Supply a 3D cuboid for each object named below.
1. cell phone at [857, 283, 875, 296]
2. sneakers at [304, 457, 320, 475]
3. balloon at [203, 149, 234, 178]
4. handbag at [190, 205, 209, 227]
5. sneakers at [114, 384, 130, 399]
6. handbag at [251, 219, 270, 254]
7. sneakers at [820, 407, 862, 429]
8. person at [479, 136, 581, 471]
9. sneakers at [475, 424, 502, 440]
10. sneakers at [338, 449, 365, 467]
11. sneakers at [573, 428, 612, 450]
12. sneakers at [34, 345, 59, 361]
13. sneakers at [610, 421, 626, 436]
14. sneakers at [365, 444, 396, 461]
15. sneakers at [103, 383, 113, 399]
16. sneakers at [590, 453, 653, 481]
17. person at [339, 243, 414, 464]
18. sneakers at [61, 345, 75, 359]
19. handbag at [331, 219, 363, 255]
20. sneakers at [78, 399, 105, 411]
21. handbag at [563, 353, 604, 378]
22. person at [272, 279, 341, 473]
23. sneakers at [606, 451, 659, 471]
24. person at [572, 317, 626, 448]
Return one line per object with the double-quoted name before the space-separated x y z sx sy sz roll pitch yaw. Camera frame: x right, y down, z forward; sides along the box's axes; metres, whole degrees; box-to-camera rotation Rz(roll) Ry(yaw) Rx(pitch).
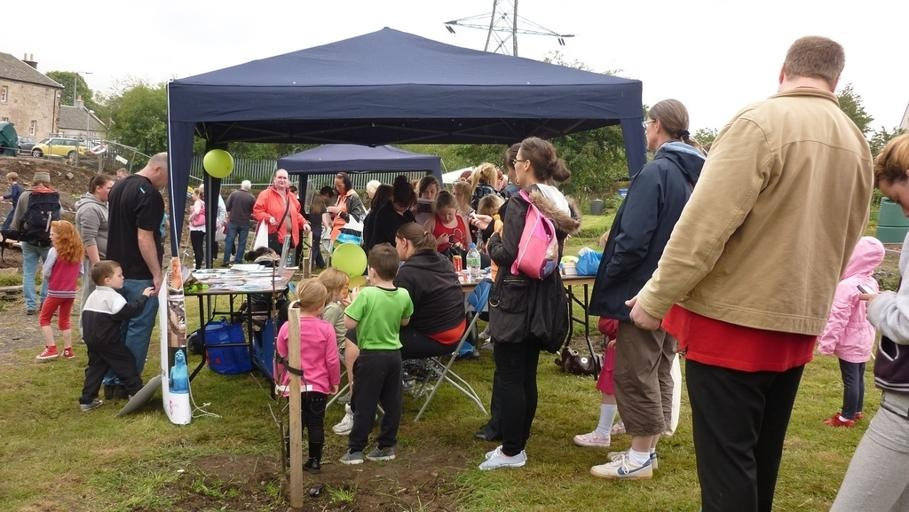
"cell phone" 3.210 0.261 5.736 0.140 0.038 0.141 6 13 -17
"sneakers" -1.327 1.951 6.862 0.090 0.118 0.190 0 4 -40
"balloon" -3.207 -1.270 9.966 0.372 0.378 0.501 0 5 -19
"handbag" -5.633 -0.890 16.123 0.263 0.449 0.386 -2 5 -33
"sneakers" -3.716 1.493 8.175 0.160 0.159 0.055 3 5 17
"handbag" -2.990 -0.340 11.293 0.204 0.436 0.775 0 4 -12
"sneakers" 4.103 1.701 7.784 0.436 0.177 0.159 0 -1 8
"person" 0.681 0.451 6.899 0.819 3.135 0.549 1 5 -8
"sneakers" 0.312 1.809 7.582 0.326 0.211 0.117 1 -8 18
"sneakers" -0.968 1.924 7.015 0.264 0.113 0.102 2 -2 2
"sneakers" 1.383 1.843 7.384 0.337 0.125 0.160 2 -4 0
"sneakers" -5.139 1.195 9.288 0.248 0.174 0.314 -1 5 -28
"sneakers" 1.702 1.791 7.662 0.100 0.102 0.256 2 4 21
"sneakers" -0.713 1.914 7.140 0.287 0.121 0.120 1 -4 -1
"sneakers" -3.835 1.493 8.169 0.143 0.151 0.138 1 5 -16
"sneakers" 1.612 1.981 6.986 0.622 0.233 0.230 2 -8 4
"person" -0.725 0.928 7.062 0.688 2.088 0.314 -1 5 -32
"sneakers" -4.867 1.217 9.243 0.088 0.107 0.258 -2 7 -27
"handbag" -1.718 -0.330 11.889 0.574 0.680 0.384 -3 -38 10
"sneakers" -3.906 1.604 7.925 0.082 0.088 0.233 10 12 44
"handbag" 1.555 1.332 9.024 0.371 0.227 0.280 -3 -4 41
"person" -1.393 1.107 6.981 0.595 1.745 1.195 0 5 -12
"sneakers" 1.667 1.923 7.045 0.547 0.204 0.182 0 -2 9
"person" 1.526 1.374 7.759 0.505 1.412 1.294 4 -3 10
